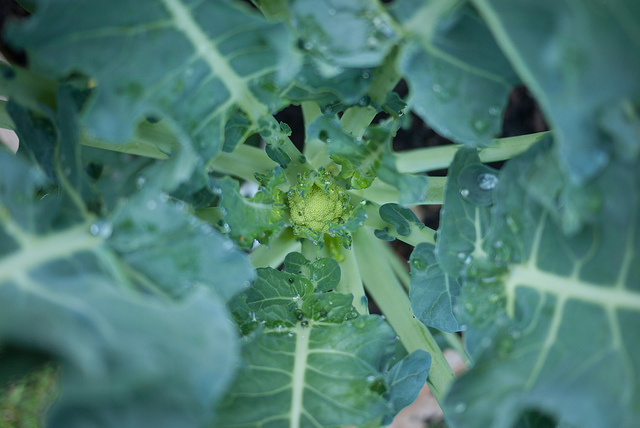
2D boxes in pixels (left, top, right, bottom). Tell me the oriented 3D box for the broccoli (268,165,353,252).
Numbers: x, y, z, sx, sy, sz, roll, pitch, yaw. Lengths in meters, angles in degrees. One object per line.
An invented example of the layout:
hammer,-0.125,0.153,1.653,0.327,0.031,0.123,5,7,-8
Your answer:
broccoli,-0.013,-0.011,1.107,0.142,0.161,0.177,2,1,3
